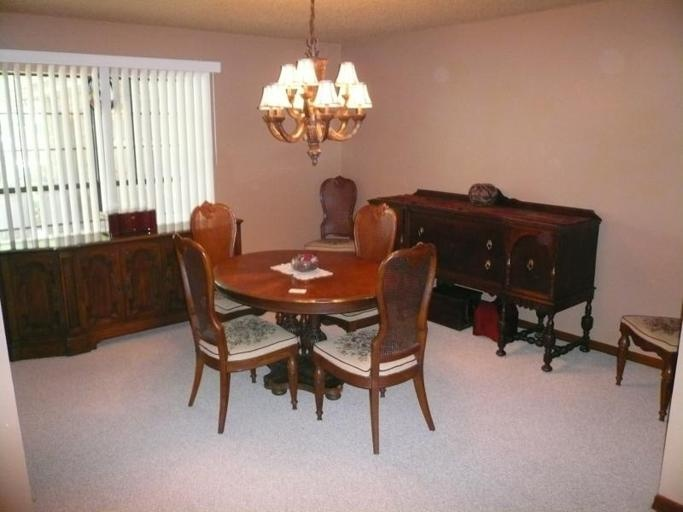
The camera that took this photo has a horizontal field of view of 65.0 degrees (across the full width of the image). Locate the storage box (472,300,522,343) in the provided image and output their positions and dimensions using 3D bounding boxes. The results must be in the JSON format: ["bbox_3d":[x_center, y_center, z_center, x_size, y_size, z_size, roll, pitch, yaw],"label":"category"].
[{"bbox_3d":[1.450,0.614,5.108,0.350,0.443,0.440,-7,11,-34],"label":"storage box"}]

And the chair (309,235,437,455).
[{"bbox_3d":[0.230,0.596,3.663,0.812,1.410,0.446,1,12,11],"label":"chair"}]

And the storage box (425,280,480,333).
[{"bbox_3d":[1.111,0.489,5.477,0.366,0.463,0.621,-2,9,-35],"label":"storage box"}]

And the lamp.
[{"bbox_3d":[-0.153,-1.428,4.333,0.744,1.314,2.026,-1,11,3],"label":"lamp"}]

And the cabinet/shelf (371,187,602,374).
[{"bbox_3d":[1.334,0.236,4.621,0.486,0.974,1.438,-9,15,-35],"label":"cabinet/shelf"}]

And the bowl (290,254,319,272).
[{"bbox_3d":[-0.299,0.050,4.190,0.132,0.066,0.177,-3,7,-29],"label":"bowl"}]
